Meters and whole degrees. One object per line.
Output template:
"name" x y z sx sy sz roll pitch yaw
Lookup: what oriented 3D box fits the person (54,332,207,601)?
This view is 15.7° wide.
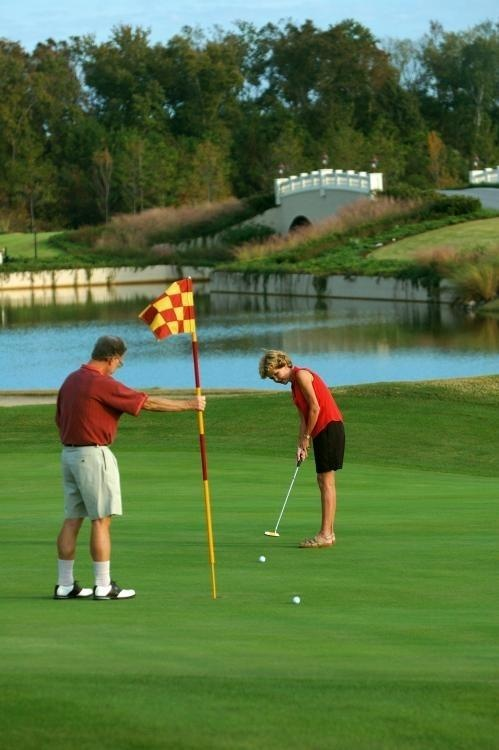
"person" -0.796 0.523 10.247 0.639 1.462 0.422 -2 5 -1

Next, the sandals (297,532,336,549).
"sandals" 0.440 1.043 11.291 0.155 0.073 0.103 1 2 9

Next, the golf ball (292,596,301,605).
"golf ball" 0.271 1.251 10.037 0.029 0.042 0.032 2 5 7

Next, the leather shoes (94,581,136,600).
"leather shoes" -0.764 1.218 10.150 0.200 0.111 0.103 -1 0 -4

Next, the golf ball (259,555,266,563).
"golf ball" 0.087 1.112 10.940 0.026 0.032 0.029 3 9 0

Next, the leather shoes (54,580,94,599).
"leather shoes" -0.989 1.196 10.212 0.202 0.107 0.092 -3 5 -27
